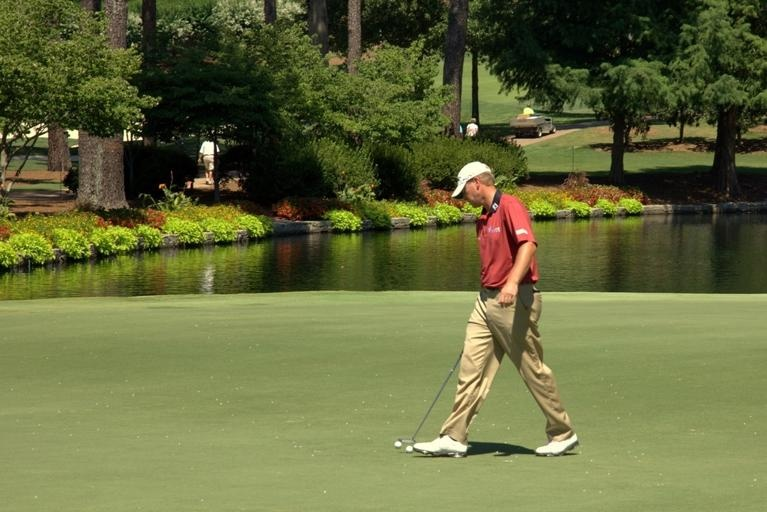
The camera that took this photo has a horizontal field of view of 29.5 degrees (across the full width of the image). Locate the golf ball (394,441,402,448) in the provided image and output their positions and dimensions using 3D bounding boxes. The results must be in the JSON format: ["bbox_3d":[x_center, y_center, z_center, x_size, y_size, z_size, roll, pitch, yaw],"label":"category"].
[{"bbox_3d":[0.248,3.345,25.728,0.131,0.069,0.121,6,-9,1],"label":"golf ball"}]
